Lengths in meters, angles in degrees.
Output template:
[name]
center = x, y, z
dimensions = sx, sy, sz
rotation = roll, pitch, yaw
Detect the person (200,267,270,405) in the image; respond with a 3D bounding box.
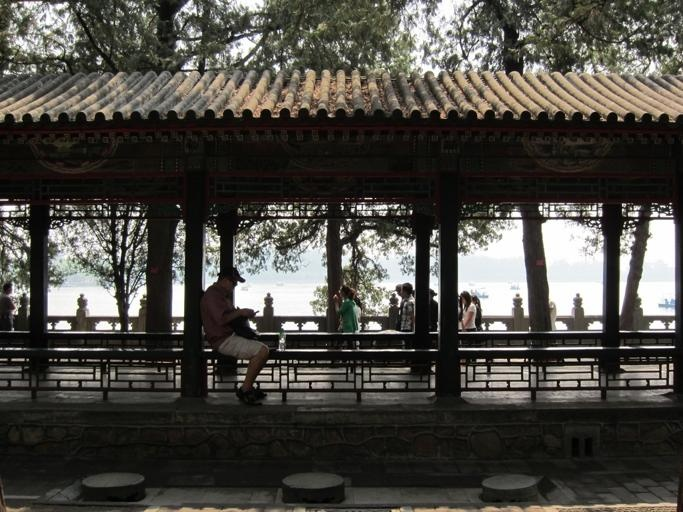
[person]
center = -1.652, 1.239, 16.167
dimensions = 1.072, 2.014, 0.485
rotation = 2, 8, 10

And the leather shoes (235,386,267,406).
[leather shoes]
center = -1.414, 2.171, 16.072
dimensions = 0.344, 0.119, 0.257
rotation = 7, 9, 35
